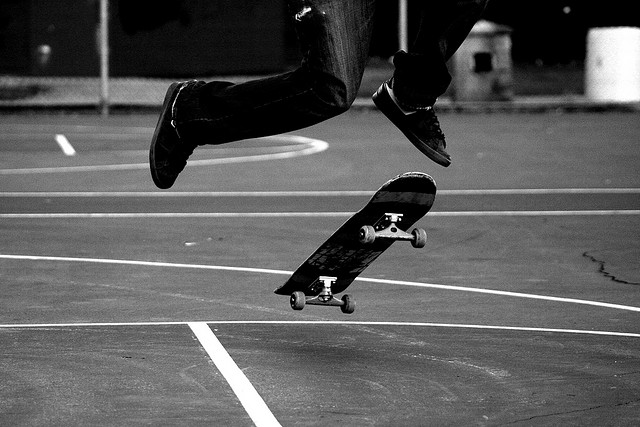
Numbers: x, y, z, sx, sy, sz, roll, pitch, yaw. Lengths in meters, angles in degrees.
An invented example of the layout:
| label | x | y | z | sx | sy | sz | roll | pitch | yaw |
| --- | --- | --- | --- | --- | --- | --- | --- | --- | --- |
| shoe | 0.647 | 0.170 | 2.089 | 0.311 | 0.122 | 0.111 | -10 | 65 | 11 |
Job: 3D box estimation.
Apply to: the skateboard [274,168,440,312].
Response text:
| label | x | y | z | sx | sy | sz | roll | pitch | yaw |
| --- | --- | --- | --- | --- | --- | --- | --- | --- | --- |
| skateboard | 0.297 | 0.198 | 8.591 | 0.521 | 0.286 | 1.748 | 27 | -46 | -37 |
